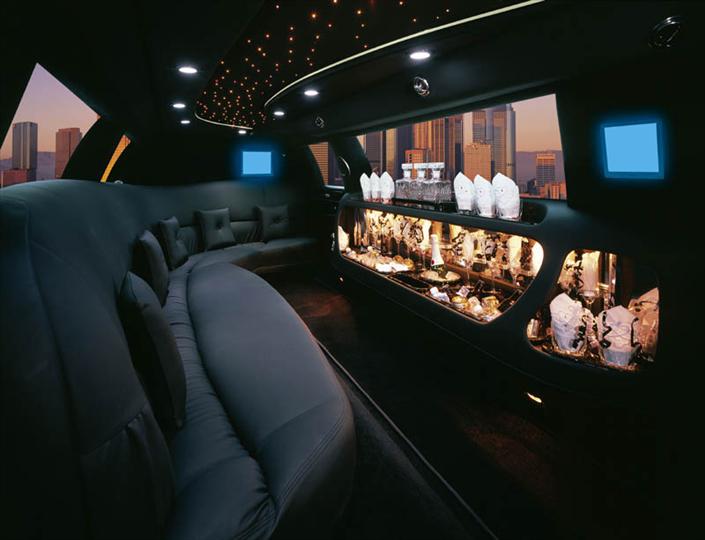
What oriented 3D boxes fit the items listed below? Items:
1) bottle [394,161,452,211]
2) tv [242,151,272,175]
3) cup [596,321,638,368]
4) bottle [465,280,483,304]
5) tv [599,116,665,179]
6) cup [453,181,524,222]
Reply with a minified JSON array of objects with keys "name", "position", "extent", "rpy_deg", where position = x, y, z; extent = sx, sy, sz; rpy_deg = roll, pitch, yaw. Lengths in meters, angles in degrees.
[{"name":"bottle","position":[0.507,-0.579,3.277],"extent":[0.115,0.253,0.362],"rpy_deg":[-6,11,-29]},{"name":"tv","position":[-1.217,-1.364,5.992],"extent":[0.309,0.324,0.075],"rpy_deg":[-6,9,-23]},{"name":"cup","position":[1.150,0.320,2.049],"extent":[0.159,0.283,0.155],"rpy_deg":[1,-7,0]},{"name":"bottle","position":[0.761,0.134,2.932],"extent":[0.100,0.028,0.116],"rpy_deg":[-21,40,3]},{"name":"tv","position":[1.174,-0.518,1.986],"extent":[0.055,0.240,0.223],"rpy_deg":[-11,14,-36]},{"name":"cup","position":[0.766,-0.410,2.656],"extent":[0.131,0.208,0.470],"rpy_deg":[-8,20,-4]}]
